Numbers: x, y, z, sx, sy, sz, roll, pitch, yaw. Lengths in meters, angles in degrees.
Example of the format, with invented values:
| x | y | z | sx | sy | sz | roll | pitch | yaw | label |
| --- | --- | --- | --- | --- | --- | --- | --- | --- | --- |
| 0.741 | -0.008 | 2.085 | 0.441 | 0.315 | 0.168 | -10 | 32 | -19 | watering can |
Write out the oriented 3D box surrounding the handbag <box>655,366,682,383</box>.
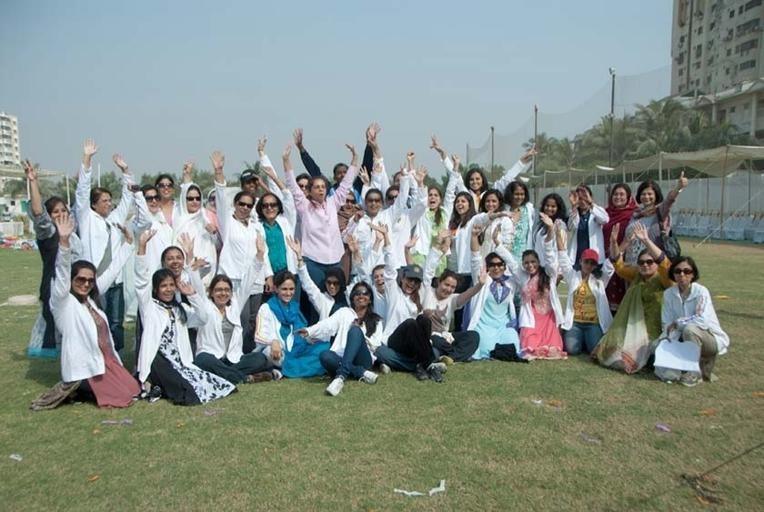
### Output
| x | y | z | sx | sy | sz | roll | pitch | yaw | label |
| --- | --- | --- | --- | --- | --- | --- | --- | --- | --- |
| 3.795 | 1.582 | 7.250 | 0.209 | 0.178 | 0.105 | 2 | 9 | 37 | handbag |

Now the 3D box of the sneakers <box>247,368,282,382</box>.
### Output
| x | y | z | sx | sy | sz | roll | pitch | yaw | label |
| --- | --- | --- | --- | --- | --- | --- | --- | --- | --- |
| -1.626 | 1.660 | 7.550 | 0.447 | 0.187 | 0.162 | -9 | 14 | -19 | sneakers |

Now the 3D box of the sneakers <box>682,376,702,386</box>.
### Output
| x | y | z | sx | sy | sz | roll | pitch | yaw | label |
| --- | --- | --- | --- | --- | --- | --- | --- | --- | --- |
| 4.042 | 1.617 | 7.121 | 0.158 | 0.065 | 0.158 | -8 | 8 | -21 | sneakers |

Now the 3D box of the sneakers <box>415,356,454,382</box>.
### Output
| x | y | z | sx | sy | sz | roll | pitch | yaw | label |
| --- | --- | --- | --- | --- | --- | --- | --- | --- | --- |
| 0.690 | 1.578 | 7.477 | 0.353 | 0.277 | 0.186 | 1 | 43 | 0 | sneakers |

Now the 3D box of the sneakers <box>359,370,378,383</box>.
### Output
| x | y | z | sx | sy | sz | roll | pitch | yaw | label |
| --- | --- | --- | --- | --- | --- | --- | --- | --- | --- |
| -0.172 | 1.625 | 7.294 | 0.179 | 0.190 | 0.138 | 8 | 9 | 14 | sneakers |

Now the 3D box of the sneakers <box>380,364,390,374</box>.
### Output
| x | y | z | sx | sy | sz | roll | pitch | yaw | label |
| --- | --- | --- | --- | --- | --- | --- | --- | --- | --- |
| 0.043 | 1.578 | 7.619 | 0.088 | 0.123 | 0.121 | -1 | -7 | -24 | sneakers |
